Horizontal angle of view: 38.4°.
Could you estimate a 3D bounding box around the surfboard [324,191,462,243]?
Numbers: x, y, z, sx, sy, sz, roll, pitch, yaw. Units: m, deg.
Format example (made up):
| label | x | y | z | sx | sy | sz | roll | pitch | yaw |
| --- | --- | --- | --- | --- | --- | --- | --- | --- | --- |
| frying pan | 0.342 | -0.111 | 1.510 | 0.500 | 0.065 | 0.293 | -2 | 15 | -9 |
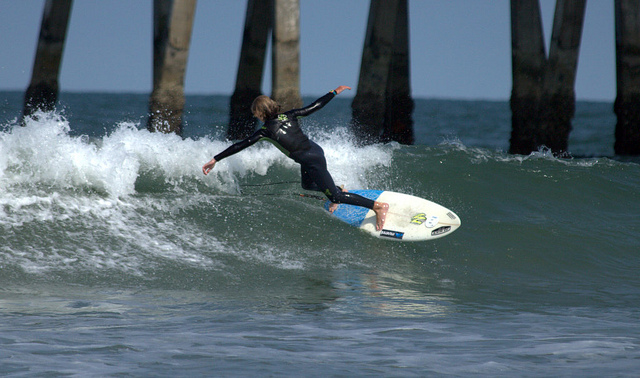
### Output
| label | x | y | z | sx | sy | sz | roll | pitch | yaw |
| --- | --- | --- | --- | --- | --- | --- | --- | --- | --- |
| surfboard | 1.372 | 0.601 | 16.825 | 2.616 | 0.894 | 0.325 | 10 | -36 | 2 |
